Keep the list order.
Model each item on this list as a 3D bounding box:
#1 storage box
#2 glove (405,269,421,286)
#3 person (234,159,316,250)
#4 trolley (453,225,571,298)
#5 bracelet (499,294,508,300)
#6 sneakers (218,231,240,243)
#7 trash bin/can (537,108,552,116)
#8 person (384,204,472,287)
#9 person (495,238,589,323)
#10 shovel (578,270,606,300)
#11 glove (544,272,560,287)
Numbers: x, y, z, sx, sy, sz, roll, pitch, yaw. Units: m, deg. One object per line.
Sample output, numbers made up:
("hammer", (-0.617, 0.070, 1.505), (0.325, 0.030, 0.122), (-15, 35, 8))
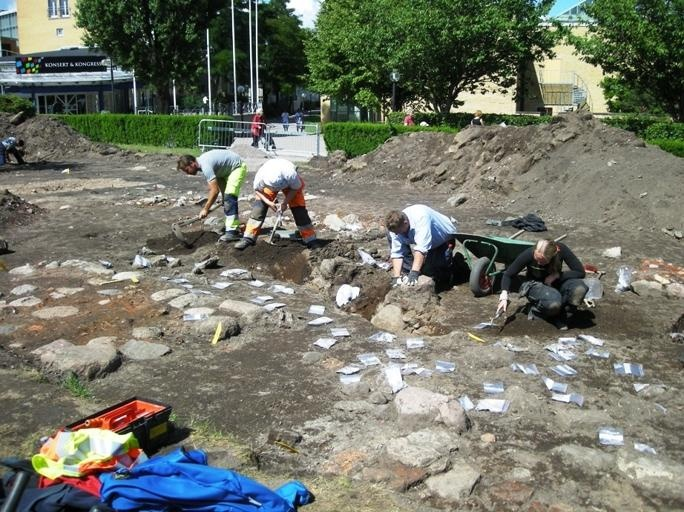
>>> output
("storage box", (-1.821, 1.434, 4.531), (0.711, 0.241, 0.434), (1, 14, 15))
("glove", (0.868, 0.277, 6.769), (0.199, 0.178, 0.064), (29, 2, 34))
("person", (-1.075, -0.831, 8.751), (1.250, 1.456, 0.535), (-2, 12, -3))
("trolley", (2.326, 0.071, 7.537), (0.889, 0.623, 1.644), (2, 7, 44))
("bracelet", (1.907, 0.487, 6.332), (0.106, 0.078, 0.092), (1, -3, -8))
("sneakers", (-1.914, -0.326, 9.154), (0.342, 0.125, 0.164), (-1, 5, -28))
("trash bin/can", (12.123, -8.688, 32.340), (0.901, 0.552, 2.286), (3, 10, 19))
("person", (1.060, -0.082, 7.208), (0.752, 1.211, 1.304), (4, 12, 26))
("person", (2.432, 0.272, 6.516), (0.964, 1.043, 1.110), (3, 11, 19))
("shovel", (3.449, 0.387, 7.425), (0.393, 0.148, 0.525), (-7, 31, 8))
("glove", (2.517, 0.288, 6.547), (0.181, 0.121, 0.175), (34, -23, -22))
